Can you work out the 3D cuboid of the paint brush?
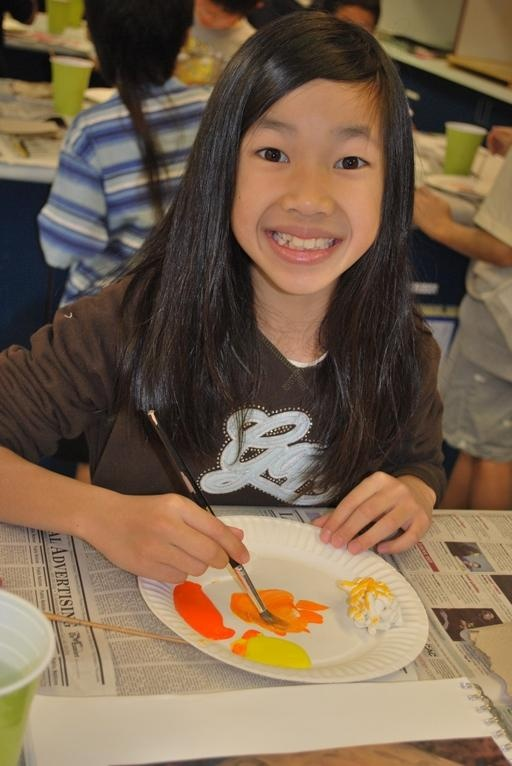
[{"bbox_3d":[-0.057,0.150,0.784,0.215,0.025,0.026,63,18,20],"label":"paint brush"}]

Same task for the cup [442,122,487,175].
[{"bbox_3d":[0.555,-0.651,1.873,0.134,0.136,0.132,7,31,-4],"label":"cup"}]

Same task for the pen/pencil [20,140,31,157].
[{"bbox_3d":[-0.590,-0.596,1.680,0.015,0.014,0.056,2,59,-54],"label":"pen/pencil"}]
